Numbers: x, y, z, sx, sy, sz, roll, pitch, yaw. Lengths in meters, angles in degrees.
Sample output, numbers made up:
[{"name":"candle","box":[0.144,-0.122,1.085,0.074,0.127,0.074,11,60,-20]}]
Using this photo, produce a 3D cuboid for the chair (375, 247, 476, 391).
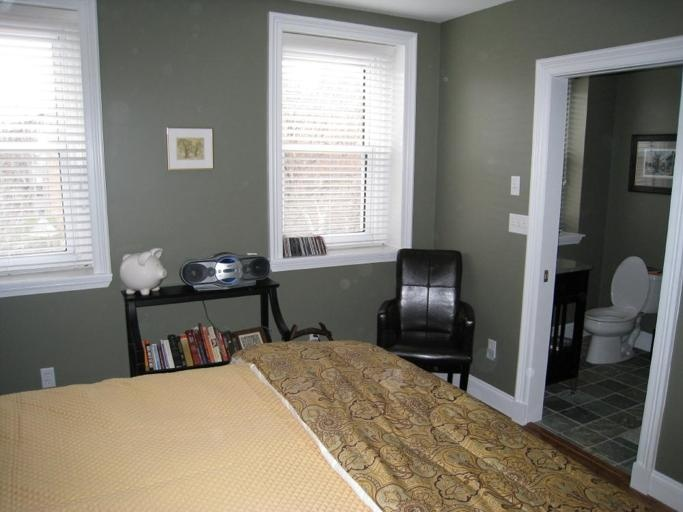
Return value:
[{"name":"chair","box":[0.630,0.520,3.591,0.679,1.010,0.654,1,12,12]}]

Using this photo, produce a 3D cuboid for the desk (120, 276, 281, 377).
[{"name":"desk","box":[-0.956,0.456,3.110,0.589,0.559,0.206,-8,21,-26]}]

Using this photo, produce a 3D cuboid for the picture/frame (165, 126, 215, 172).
[{"name":"picture/frame","box":[-1.034,-0.732,3.239,0.300,0.268,0.028,-4,8,-27]}]
